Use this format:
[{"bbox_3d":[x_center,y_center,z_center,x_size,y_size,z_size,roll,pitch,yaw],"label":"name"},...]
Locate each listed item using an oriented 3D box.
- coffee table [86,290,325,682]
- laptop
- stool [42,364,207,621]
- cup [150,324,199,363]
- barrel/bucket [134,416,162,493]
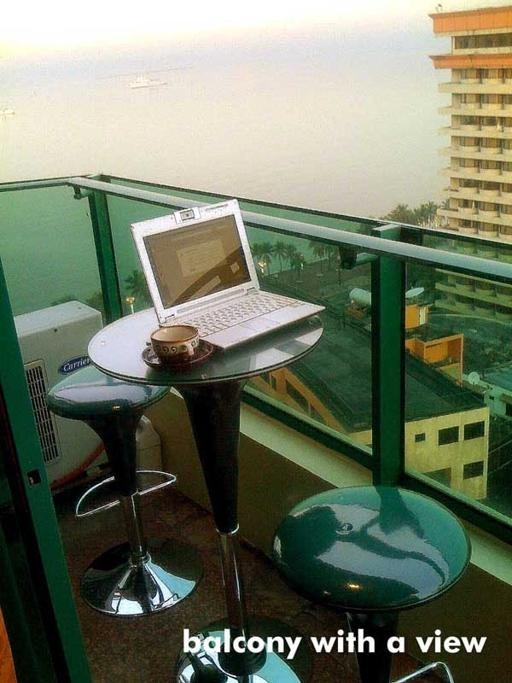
[{"bbox_3d":[-0.061,0.307,1.265,0.539,0.754,0.540,-15,26,-38],"label":"coffee table"},{"bbox_3d":[-0.072,-0.155,1.144,0.376,0.288,0.313,-16,27,-40],"label":"laptop"},{"bbox_3d":[-0.317,0.410,1.584,0.368,0.684,0.357,14,27,43],"label":"stool"},{"bbox_3d":[-0.128,0.005,0.893,0.069,0.037,0.095,-3,19,-8],"label":"cup"},{"bbox_3d":[-0.366,0.391,1.991,0.091,0.208,0.100,2,22,-1],"label":"barrel/bucket"}]
